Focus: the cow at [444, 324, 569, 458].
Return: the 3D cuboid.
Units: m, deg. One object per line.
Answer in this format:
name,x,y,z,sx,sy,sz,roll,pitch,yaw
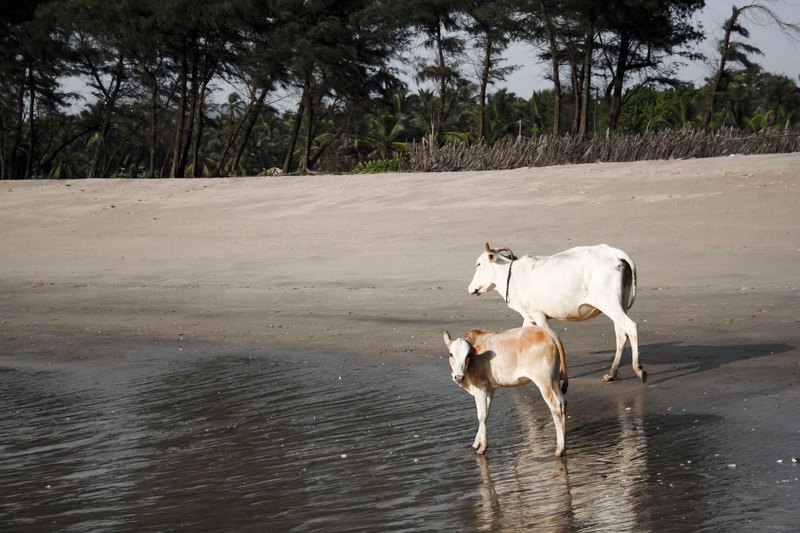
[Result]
cow,1.347,1.526,11.330,1.840,1.607,0.783,-14,-19,42
